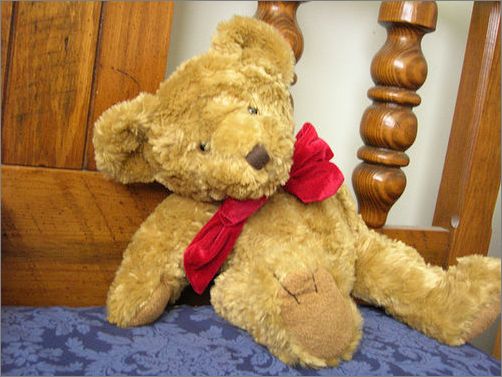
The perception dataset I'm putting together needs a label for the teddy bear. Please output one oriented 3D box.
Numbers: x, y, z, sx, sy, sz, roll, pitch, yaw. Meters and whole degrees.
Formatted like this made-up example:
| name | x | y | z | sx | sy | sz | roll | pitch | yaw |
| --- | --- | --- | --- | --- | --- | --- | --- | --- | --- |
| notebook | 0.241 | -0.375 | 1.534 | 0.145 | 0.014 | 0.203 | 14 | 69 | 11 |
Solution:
| name | x | y | z | sx | sy | sz | roll | pitch | yaw |
| --- | --- | --- | --- | --- | --- | --- | --- | --- | --- |
| teddy bear | 0.102 | 0.002 | 1.006 | 0.819 | 0.600 | 0.313 | 10 | 21 | 5 |
